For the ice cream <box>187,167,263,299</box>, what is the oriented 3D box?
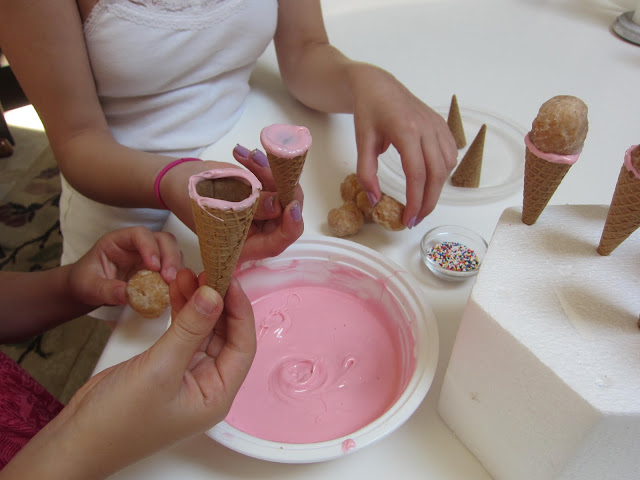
[{"bbox_3d":[-0.151,-0.005,0.893,0.116,0.234,0.103,-8,53,-7],"label":"ice cream"}]
